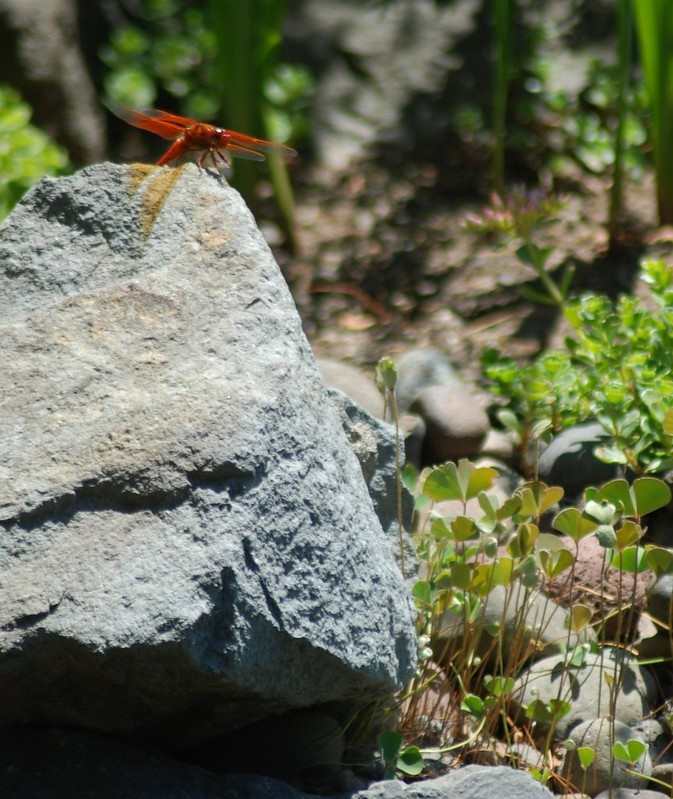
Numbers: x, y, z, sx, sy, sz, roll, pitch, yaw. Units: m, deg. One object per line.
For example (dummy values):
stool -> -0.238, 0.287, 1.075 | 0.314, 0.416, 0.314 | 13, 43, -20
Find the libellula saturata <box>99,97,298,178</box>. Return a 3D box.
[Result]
libellula saturata -> -0.334, -0.632, 3.811 | 0.406, 0.216, 0.143 | 13, 30, 6
